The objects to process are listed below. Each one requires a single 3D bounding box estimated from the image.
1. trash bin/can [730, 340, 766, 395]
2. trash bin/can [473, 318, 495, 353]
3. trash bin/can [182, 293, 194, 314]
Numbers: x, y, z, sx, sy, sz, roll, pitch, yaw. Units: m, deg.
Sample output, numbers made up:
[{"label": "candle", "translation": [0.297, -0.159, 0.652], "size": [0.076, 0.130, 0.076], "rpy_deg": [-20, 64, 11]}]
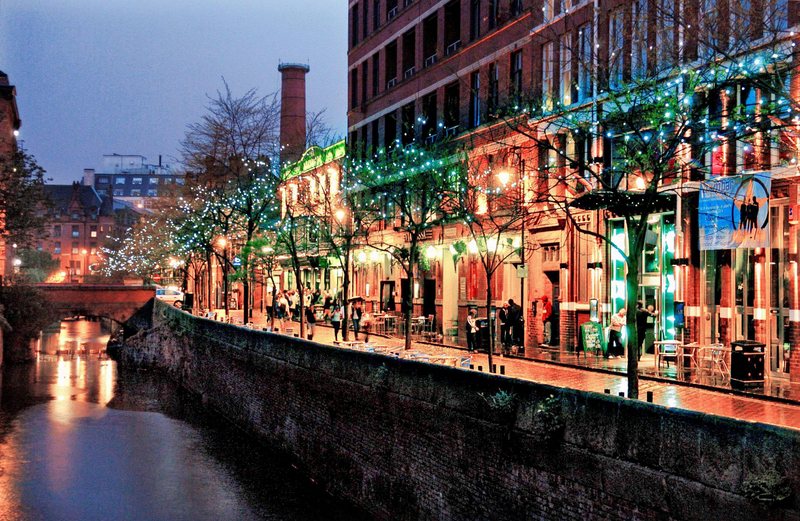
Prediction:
[{"label": "trash bin/can", "translation": [10.576, 3.160, 24.125], "size": [0.805, 1.346, 0.844], "rpy_deg": [1, -2, -2]}, {"label": "trash bin/can", "translation": [3.835, 3.328, 35.516], "size": [1.266, 1.482, 1.278], "rpy_deg": [-1, -1, -33]}, {"label": "trash bin/can", "translation": [-17.600, 3.658, 65.665], "size": [1.139, 2.257, 1.188], "rpy_deg": [1, -4, -14]}]
